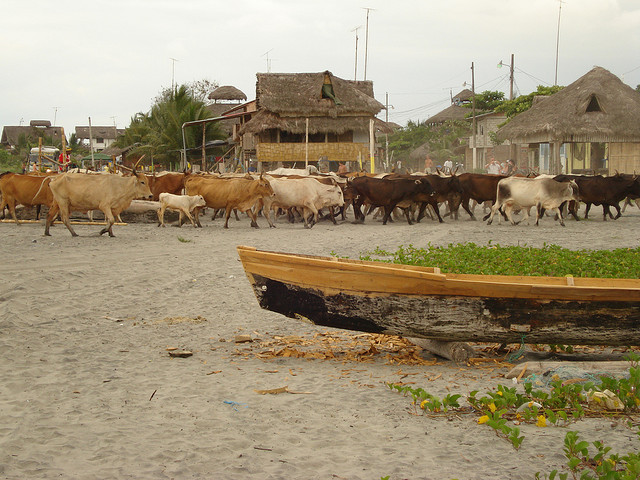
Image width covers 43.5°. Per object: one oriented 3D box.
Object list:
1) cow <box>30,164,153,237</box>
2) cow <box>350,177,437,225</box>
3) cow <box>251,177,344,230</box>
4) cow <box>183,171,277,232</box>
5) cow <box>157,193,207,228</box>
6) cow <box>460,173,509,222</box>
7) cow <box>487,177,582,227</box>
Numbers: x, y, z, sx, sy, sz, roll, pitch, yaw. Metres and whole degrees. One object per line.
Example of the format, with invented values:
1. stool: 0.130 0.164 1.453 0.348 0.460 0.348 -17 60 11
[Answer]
1. cow: -4.812 -0.793 17.209 2.394 1.315 0.619 -4 4 -13
2. cow: 1.973 -1.134 22.201 2.369 1.284 0.681 3 13 18
3. cow: -0.583 -1.007 21.566 2.583 1.354 0.628 0 2 6
4. cow: -2.353 -1.000 20.735 2.367 1.279 0.708 1 2 9
5. cow: -3.483 -0.779 20.774 1.212 0.882 0.946 0 4 10
6. cow: 4.771 -1.301 23.377 2.282 1.221 0.524 -2 9 -20
7. cow: 5.570 -0.994 20.915 2.300 1.197 0.641 2 1 29
